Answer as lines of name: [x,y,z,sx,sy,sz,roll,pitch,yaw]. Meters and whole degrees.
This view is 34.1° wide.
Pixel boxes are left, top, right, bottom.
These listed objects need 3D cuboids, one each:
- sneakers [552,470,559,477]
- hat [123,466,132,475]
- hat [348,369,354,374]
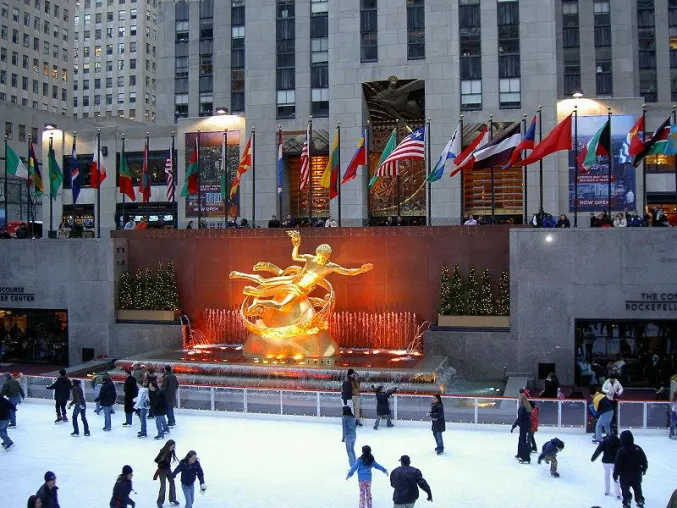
sneakers: [8.798,8.940,44.601,0.345,0.198,0.232,-1,0,-24]
hat: [-7.908,8.143,41.347,0.344,0.362,0.494,-1,0,-12]
hat: [0.554,5.163,47.998,0.221,0.225,0.227,1,2,0]
